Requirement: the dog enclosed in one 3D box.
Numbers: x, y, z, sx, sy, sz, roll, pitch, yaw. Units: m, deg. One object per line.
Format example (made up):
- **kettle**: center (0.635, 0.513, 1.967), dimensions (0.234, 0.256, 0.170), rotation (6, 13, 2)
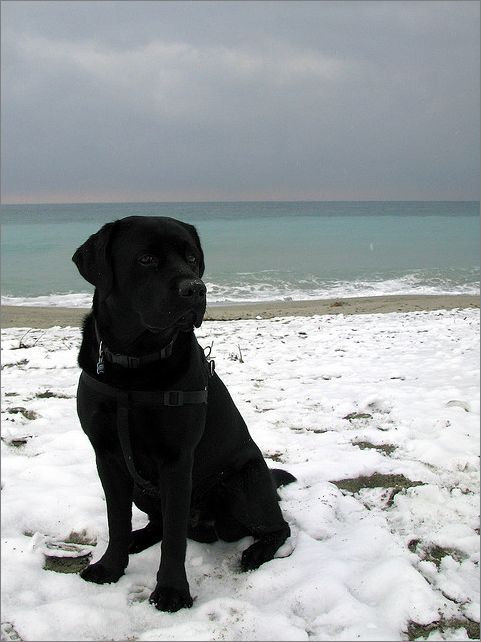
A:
- **dog**: center (-0.272, 0.357, 2.774), dimensions (0.863, 1.621, 0.698), rotation (-5, 12, -32)
